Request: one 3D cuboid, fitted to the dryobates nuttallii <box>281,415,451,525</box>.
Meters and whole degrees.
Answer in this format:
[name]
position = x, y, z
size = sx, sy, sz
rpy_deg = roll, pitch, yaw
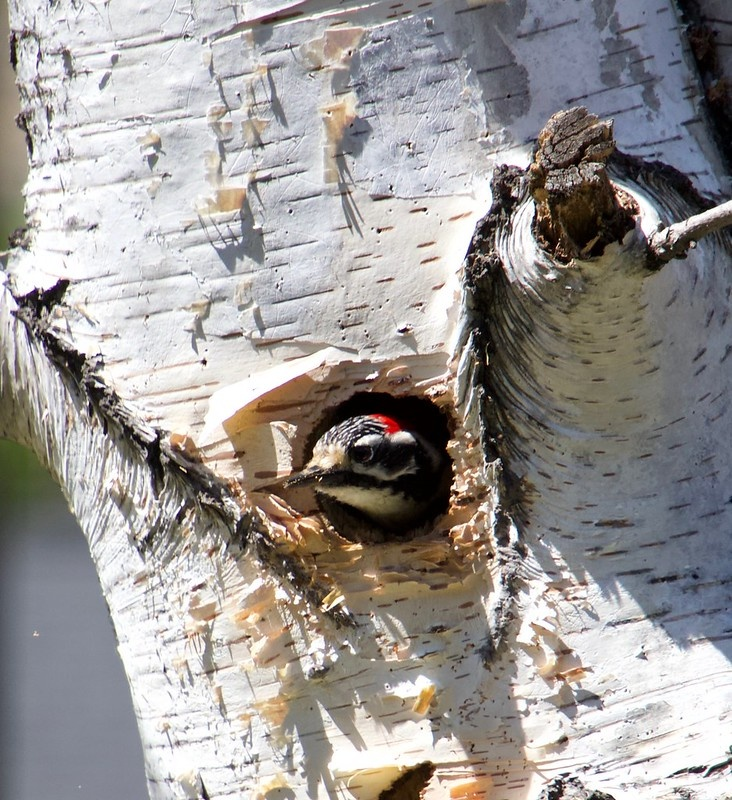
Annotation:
[dryobates nuttallii]
position = 0.030, 0.213, 6.129
size = 0.505, 0.242, 0.368
rpy_deg = 10, 80, -43
